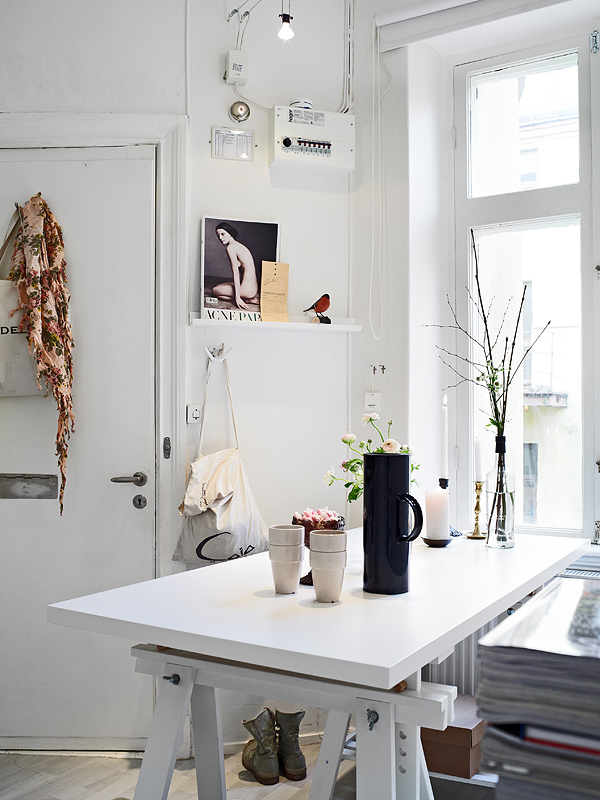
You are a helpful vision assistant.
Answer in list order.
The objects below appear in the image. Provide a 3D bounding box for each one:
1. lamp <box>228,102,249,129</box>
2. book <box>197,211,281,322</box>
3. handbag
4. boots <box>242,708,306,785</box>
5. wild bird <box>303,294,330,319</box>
[{"bbox_3d":[-0.204,-0.986,2.430,0.076,0.075,0.032,0,-3,-20],"label":"lamp"},{"bbox_3d":[-0.219,-0.445,2.419,0.350,0.490,0.021,2,-2,-24],"label":"book"},{"bbox_3d":[-0.252,0.341,2.288,0.172,0.368,0.316,-2,1,38],"label":"handbag"},{"bbox_3d":[-0.084,1.050,2.227,0.154,0.203,0.207,-1,-1,-14],"label":"boots"},{"bbox_3d":[0.063,-0.334,2.509,0.099,0.084,0.093,0,-3,-7],"label":"wild bird"}]
